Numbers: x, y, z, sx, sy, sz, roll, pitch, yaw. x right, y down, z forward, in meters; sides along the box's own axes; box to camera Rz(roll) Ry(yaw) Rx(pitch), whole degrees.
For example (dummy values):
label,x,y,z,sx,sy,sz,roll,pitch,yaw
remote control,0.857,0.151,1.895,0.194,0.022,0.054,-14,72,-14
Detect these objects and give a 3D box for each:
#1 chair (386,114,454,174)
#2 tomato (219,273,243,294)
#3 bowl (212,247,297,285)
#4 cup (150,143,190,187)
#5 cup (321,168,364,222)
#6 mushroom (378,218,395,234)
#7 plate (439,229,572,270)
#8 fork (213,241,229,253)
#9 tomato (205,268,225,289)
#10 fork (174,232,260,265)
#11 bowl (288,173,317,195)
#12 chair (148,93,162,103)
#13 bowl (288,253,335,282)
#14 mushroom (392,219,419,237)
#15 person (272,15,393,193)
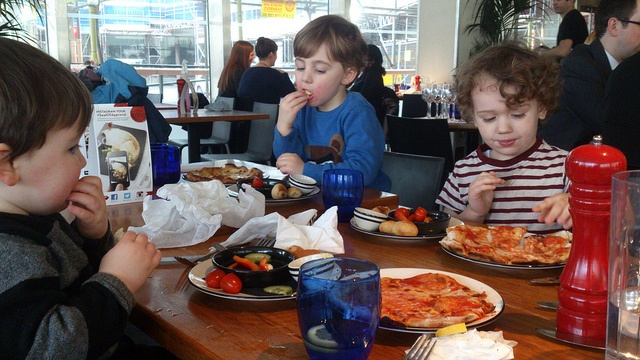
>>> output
label,x,y,z,sx,sy,sz,roll,pitch,yaw
chair,0.900,-0.380,4.093,0.506,0.811,0.594,6,16,27
tomato,-0.231,0.270,1.143,0.053,0.040,0.041,23,5,44
bowl,-0.159,0.232,1.220,0.167,0.045,0.180,11,9,-2
cup,-0.677,-0.062,2.017,0.187,0.166,0.180,0,5,0
cup,0.086,0.055,1.594,0.184,0.191,0.178,0,4,0
mushroom,0.230,0.157,1.479,0.044,0.020,0.042,-7,17,-17
plate,0.555,0.208,1.310,0.334,0.061,0.334,-2,12,-4
fork,-0.290,0.203,1.305,0.021,0.008,0.085,-44,15,-19
tomato,-0.276,0.261,1.166,0.040,0.036,0.051,-5,18,25
fork,-0.300,0.210,1.309,0.247,0.030,0.027,-17,9,-14
bowl,-0.069,0.012,1.842,0.094,0.054,0.092,9,18,-3
chair,-2.541,-1.263,6.791,0.190,0.213,0.189,-4,7,-35
bowl,-0.018,0.212,1.043,0.093,0.039,0.089,-2,9,0
mushroom,0.287,0.159,1.445,0.052,0.031,0.059,5,2,6
person,0.095,-0.290,2.452,0.733,1.142,0.819,-1,14,-7
